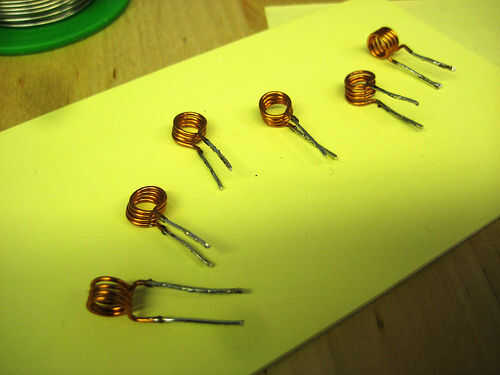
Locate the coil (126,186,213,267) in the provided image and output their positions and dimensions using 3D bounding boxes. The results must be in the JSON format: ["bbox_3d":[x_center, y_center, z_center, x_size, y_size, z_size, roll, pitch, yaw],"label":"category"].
[{"bbox_3d":[-0.298,0.139,1.747,0.176,0.358,0.085,-34,-22,-57],"label":"coil"}]

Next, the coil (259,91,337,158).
[{"bbox_3d":[0.204,-0.253,2.022,0.147,0.449,0.080,-32,-32,-19],"label":"coil"}]

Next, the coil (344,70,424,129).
[{"bbox_3d":[0.556,-0.423,2.141,0.189,0.402,0.141,-42,-25,-28],"label":"coil"}]

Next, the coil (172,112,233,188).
[{"bbox_3d":[-0.222,-0.185,2.142,0.150,0.105,0.401,0,-30,24],"label":"coil"}]
